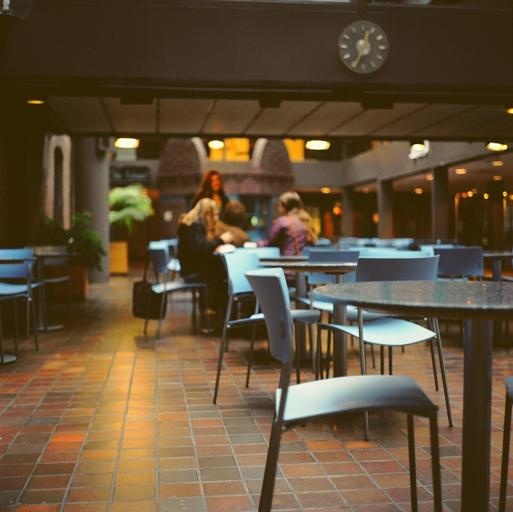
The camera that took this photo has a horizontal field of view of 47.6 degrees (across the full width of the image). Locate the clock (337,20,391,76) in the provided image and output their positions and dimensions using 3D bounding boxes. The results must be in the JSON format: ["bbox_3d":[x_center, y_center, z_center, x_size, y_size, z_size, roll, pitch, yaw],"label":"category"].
[{"bbox_3d":[1.014,-1.999,5.520,0.446,0.546,0.498,2,-3,6],"label":"clock"}]

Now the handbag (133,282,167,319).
[{"bbox_3d":[-1.165,0.484,6.379,0.290,0.484,0.223,3,9,2],"label":"handbag"}]
